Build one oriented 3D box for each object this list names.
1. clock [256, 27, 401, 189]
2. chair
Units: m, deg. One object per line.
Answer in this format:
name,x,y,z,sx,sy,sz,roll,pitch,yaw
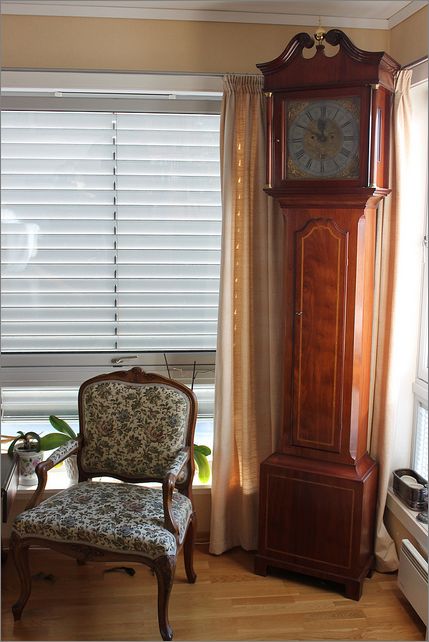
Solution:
clock,0.392,-0.790,2.162,0.459,0.572,0.125,6,8,35
chair,-0.402,0.669,2.236,0.623,0.884,0.596,2,7,7
